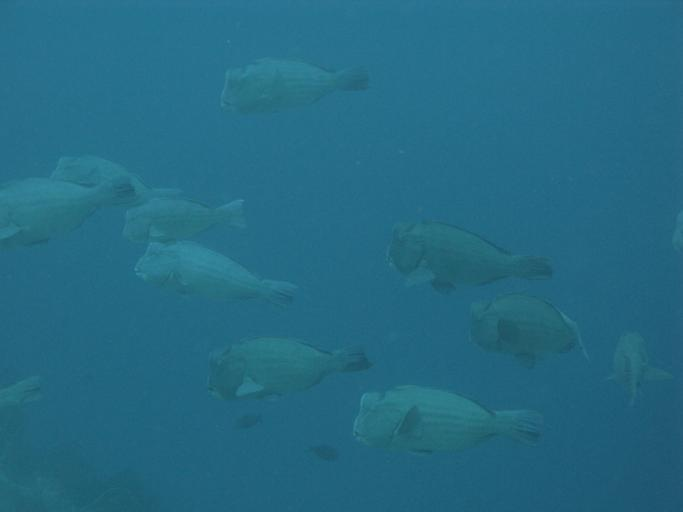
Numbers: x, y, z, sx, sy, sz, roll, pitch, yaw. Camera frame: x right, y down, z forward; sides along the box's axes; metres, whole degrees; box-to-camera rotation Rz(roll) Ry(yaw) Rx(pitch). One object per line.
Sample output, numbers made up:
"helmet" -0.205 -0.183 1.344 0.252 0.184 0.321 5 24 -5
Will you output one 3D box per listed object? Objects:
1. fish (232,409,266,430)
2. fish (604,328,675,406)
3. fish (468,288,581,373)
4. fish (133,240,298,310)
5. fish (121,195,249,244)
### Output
"fish" -0.318 0.556 4.282 0.104 0.065 0.008 -20 3 3
"fish" 0.992 0.402 4.298 0.309 0.039 0.324 8 41 26
"fish" 0.636 0.271 4.304 0.422 0.281 0.048 7 0 -1
"fish" -0.440 0.091 4.354 0.520 0.220 0.125 11 -12 -2
"fish" -0.550 -0.115 4.393 0.447 0.180 0.190 -2 1 0
